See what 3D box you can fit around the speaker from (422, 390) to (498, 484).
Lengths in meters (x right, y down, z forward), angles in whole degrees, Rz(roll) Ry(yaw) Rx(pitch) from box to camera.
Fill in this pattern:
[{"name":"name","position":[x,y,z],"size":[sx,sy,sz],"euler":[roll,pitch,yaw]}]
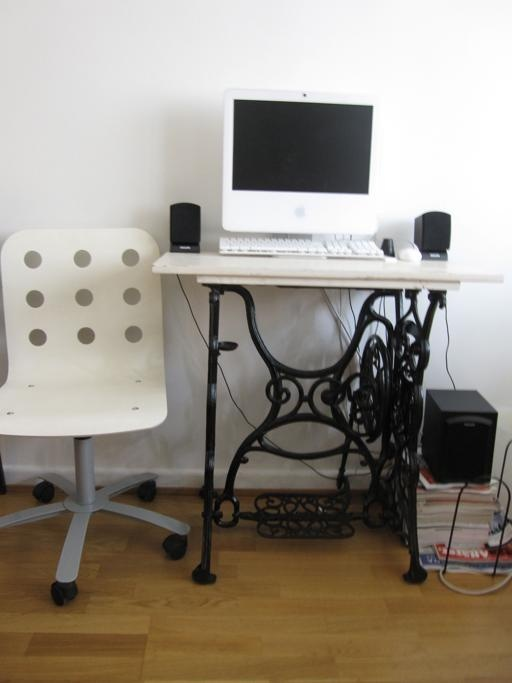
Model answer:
[{"name":"speaker","position":[0.554,0.260,1.758],"size":[0.163,0.266,0.220],"euler":[1,4,2]}]

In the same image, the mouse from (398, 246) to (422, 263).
[{"name":"mouse","position":[0.435,-0.243,1.718],"size":[0.047,0.036,0.050],"euler":[1,17,-5]}]

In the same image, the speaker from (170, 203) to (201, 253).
[{"name":"speaker","position":[-0.210,-0.361,1.815],"size":[0.093,0.150,0.086],"euler":[4,36,-2]}]

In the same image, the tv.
[{"name":"tv","position":[0.117,-0.510,1.712],"size":[0.360,0.356,0.028],"euler":[0,9,-6]}]

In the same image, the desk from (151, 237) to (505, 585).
[{"name":"desk","position":[0.137,0.169,1.690],"size":[0.710,0.741,0.519],"euler":[2,7,6]}]
